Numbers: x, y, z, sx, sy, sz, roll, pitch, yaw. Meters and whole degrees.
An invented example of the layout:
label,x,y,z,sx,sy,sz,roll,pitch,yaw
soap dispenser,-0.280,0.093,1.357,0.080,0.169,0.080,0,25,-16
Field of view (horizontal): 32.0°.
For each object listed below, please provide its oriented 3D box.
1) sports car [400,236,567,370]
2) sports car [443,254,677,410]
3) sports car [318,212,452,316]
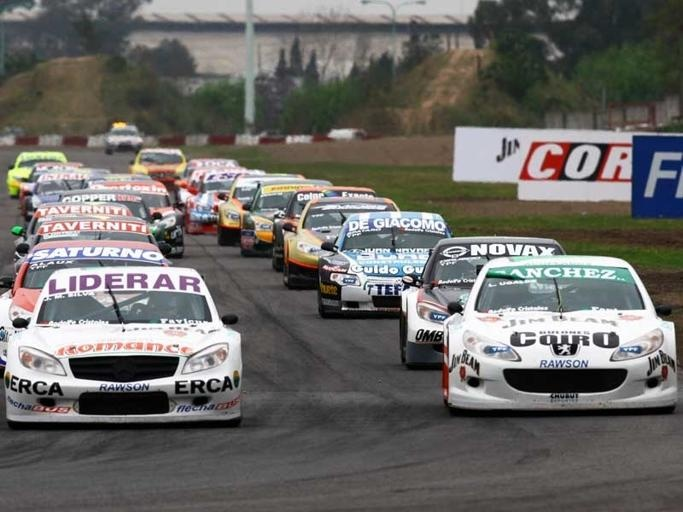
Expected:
label,x,y,z,sx,sy,sz,roll,pitch,yaw
sports car,1.837,0.265,15.597,1.805,1.041,2.646,-8,16,19
sports car,2.153,0.910,11.823,2.222,1.238,1.432,2,16,5
sports car,0.831,-0.101,19.415,2.322,1.176,3.311,1,17,-3
